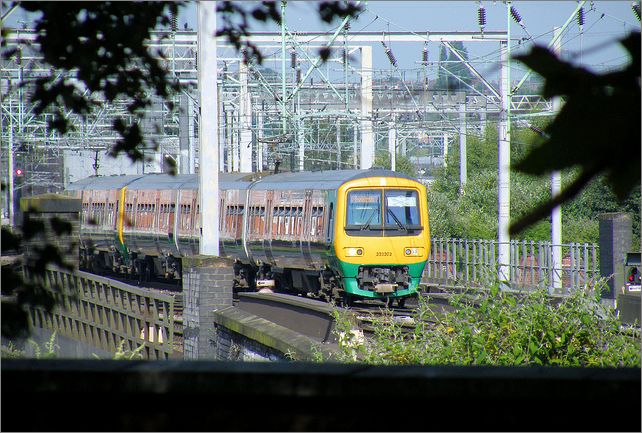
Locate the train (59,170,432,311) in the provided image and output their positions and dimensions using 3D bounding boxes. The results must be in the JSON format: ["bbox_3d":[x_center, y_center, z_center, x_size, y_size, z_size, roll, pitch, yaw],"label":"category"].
[{"bbox_3d":[-3.149,0.218,27.800,2.730,3.781,17.845,0,0,-24],"label":"train"}]
